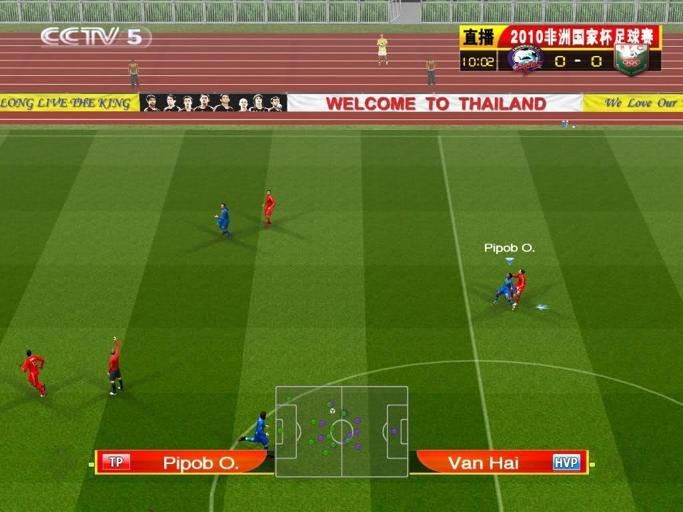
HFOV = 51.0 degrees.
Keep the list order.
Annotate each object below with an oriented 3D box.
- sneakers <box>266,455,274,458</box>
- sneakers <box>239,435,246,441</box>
[{"bbox_3d":[-2.599,7.134,25.663,0.181,0.149,0.052,-6,-2,-12],"label":"sneakers"},{"bbox_3d":[-3.647,6.620,26.057,0.209,0.088,0.278,5,14,7],"label":"sneakers"}]
